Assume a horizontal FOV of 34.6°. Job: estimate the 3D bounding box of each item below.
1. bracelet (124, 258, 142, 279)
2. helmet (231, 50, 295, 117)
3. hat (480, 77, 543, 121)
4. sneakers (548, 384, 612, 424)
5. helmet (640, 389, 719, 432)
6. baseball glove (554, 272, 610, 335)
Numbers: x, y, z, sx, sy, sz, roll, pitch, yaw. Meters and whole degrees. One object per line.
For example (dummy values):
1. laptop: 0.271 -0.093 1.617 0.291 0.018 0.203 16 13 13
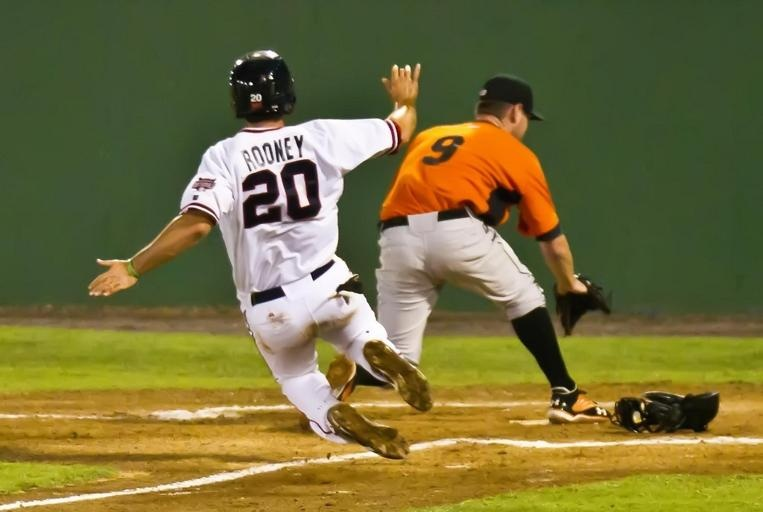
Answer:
1. bracelet: -1.703 0.093 8.428 0.108 0.141 0.039 -30 -8 7
2. helmet: -0.882 -1.243 8.833 0.475 0.434 0.507 -1 17 4
3. hat: 1.048 -1.304 9.876 0.484 0.251 0.323 18 8 -18
4. sneakers: 1.582 1.218 9.811 0.575 0.259 0.234 8 -11 -28
5. helmet: 2.396 1.219 9.704 0.462 0.323 0.217 8 2 9
6. baseball glove: 1.728 0.396 10.076 0.399 0.345 0.542 8 2 39
